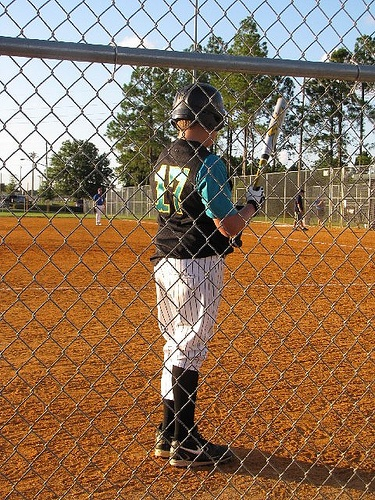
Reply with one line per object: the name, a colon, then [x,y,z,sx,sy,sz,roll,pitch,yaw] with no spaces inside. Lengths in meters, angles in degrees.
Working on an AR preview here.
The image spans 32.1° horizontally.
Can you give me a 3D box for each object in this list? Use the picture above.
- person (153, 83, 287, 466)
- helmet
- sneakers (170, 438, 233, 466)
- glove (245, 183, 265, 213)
person: [0.065,0.122,3.291,0.584,1.887,0.639,1,3,20]
helmet: [0.065,-0.721,3.224,0.241,0.185,0.265,17,32,38]
sneakers: [0.114,1.008,3.276,0.384,0.135,0.124,2,-11,-14]
glove: [0.342,-0.263,3.311,0.138,0.113,0.037,4,-17,-19]
